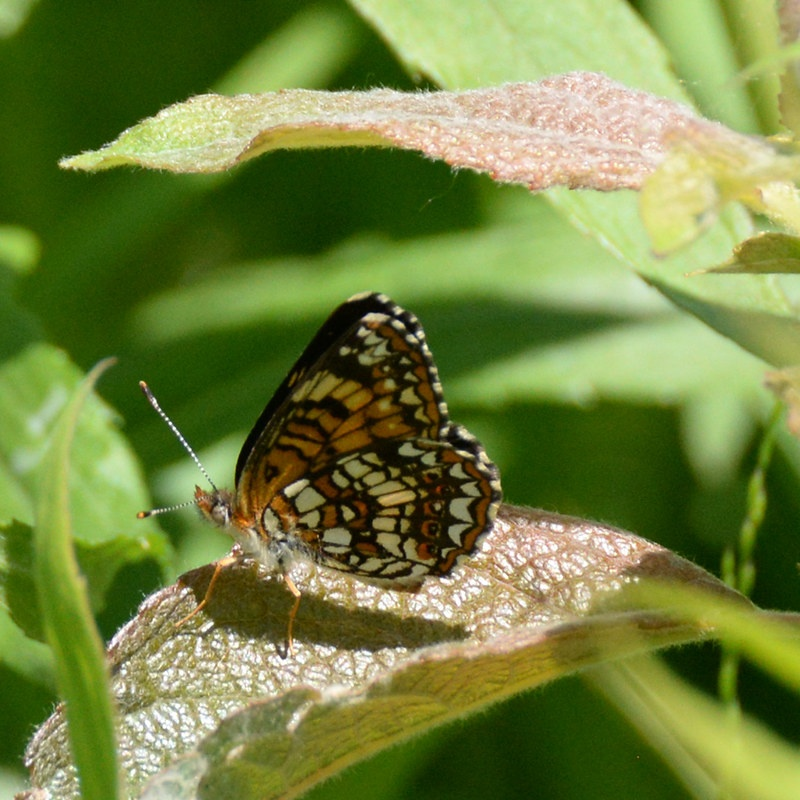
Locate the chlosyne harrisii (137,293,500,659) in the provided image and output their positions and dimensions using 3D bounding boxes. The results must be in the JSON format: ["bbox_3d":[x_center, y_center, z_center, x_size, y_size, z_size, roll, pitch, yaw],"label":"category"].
[{"bbox_3d":[-0.063,0.132,1.627,0.619,0.615,0.402,8,73,-15],"label":"chlosyne harrisii"}]
